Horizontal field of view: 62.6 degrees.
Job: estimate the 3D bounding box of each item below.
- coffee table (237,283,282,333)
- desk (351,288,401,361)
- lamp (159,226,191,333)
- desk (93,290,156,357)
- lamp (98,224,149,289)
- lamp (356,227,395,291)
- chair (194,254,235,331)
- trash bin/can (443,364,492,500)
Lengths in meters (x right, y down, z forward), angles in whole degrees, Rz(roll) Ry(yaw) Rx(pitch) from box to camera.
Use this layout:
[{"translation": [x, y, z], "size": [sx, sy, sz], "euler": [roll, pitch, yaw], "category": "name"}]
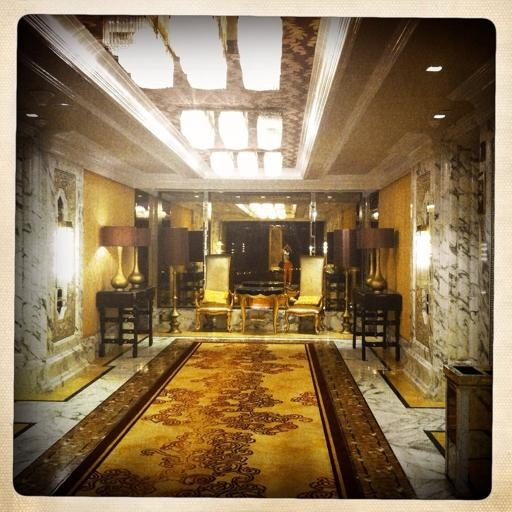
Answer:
[{"translation": [0.060, 0.930, 7.447], "size": [0.882, 0.775, 0.797], "euler": [0, -9, 0], "category": "coffee table"}, {"translation": [1.615, 0.908, 5.623], "size": [0.381, 0.674, 0.927], "euler": [1, -2, 7], "category": "desk"}, {"translation": [-1.377, 0.403, 7.223], "size": [0.406, 1.792, 0.796], "euler": [0, 1, -13], "category": "lamp"}, {"translation": [-1.831, 0.901, 6.099], "size": [0.693, 0.882, 1.233], "euler": [0, 1, -8], "category": "desk"}, {"translation": [-1.836, 0.027, 5.895], "size": [0.654, 0.878, 0.659], "euler": [-1, 1, -20], "category": "lamp"}, {"translation": [1.741, 0.020, 6.095], "size": [0.539, 0.876, 1.126], "euler": [0, 1, 13], "category": "lamp"}, {"translation": [-0.721, 0.643, 7.172], "size": [0.628, 1.310, 0.969], "euler": [0, 1, -8], "category": "chair"}, {"translation": [1.250, 1.048, 2.505], "size": [0.251, 0.764, 0.294], "euler": [1, 1, 27], "category": "trash bin/can"}]
